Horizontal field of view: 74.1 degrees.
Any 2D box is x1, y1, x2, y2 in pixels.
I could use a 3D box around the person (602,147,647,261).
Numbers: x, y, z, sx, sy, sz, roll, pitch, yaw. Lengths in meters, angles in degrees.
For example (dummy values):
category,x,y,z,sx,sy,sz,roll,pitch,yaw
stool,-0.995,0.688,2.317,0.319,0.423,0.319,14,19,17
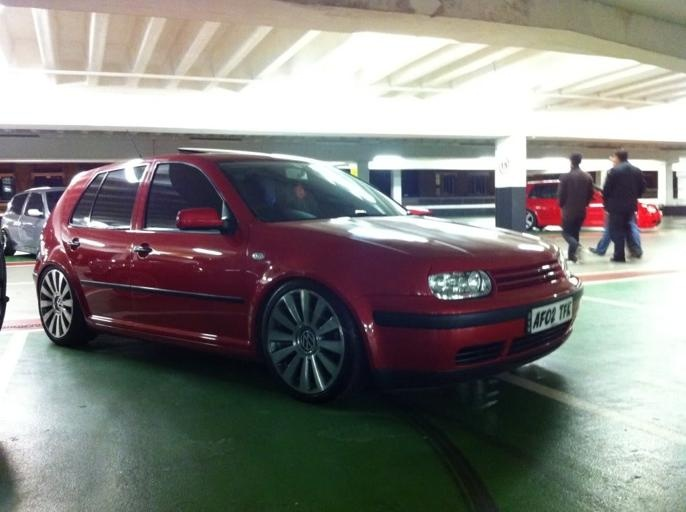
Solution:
category,x,y,z,sx,sy,sz,roll,pitch,yaw
person,5.831,-1.016,9.472,1.012,2.337,0.589,-4,6,-28
